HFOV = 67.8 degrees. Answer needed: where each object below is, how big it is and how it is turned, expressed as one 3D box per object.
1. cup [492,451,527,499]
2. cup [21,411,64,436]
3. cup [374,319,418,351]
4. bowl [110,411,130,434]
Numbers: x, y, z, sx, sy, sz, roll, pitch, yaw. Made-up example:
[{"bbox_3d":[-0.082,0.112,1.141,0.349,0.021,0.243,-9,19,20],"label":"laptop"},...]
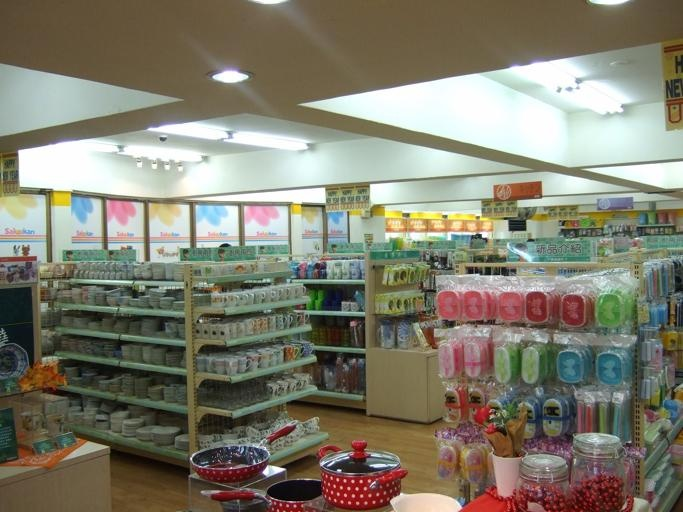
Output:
[{"bbox_3d":[0.734,1.002,2.271,0.118,0.169,0.199,-1,1,17],"label":"cup"},{"bbox_3d":[-2.108,1.160,3.584,0.206,0.120,0.206,1,0,0],"label":"cup"},{"bbox_3d":[0.723,1.053,6.895,0.372,0.304,0.453,1,2,24],"label":"cup"},{"bbox_3d":[-2.586,1.953,6.005,0.225,0.198,0.217,0,-1,0],"label":"bowl"}]
